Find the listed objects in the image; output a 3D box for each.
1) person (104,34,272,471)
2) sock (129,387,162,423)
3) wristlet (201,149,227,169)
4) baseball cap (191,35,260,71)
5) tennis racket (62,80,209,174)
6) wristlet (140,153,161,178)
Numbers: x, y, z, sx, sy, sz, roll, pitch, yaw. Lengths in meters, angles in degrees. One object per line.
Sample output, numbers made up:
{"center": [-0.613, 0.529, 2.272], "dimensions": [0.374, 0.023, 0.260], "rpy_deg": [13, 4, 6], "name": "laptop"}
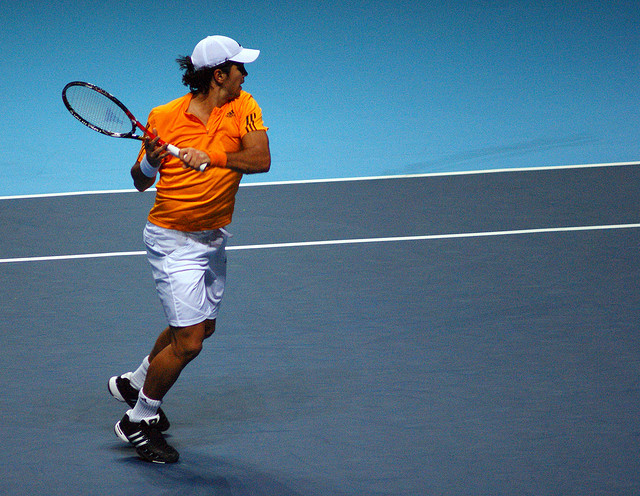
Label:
{"center": [-0.722, 0.012, 4.853], "dimensions": [0.807, 2.339, 0.574], "rpy_deg": [-4, 12, -27], "name": "person"}
{"center": [-0.971, 0.873, 4.837], "dimensions": [0.182, 0.194, 0.065], "rpy_deg": [6, 11, 22], "name": "sock"}
{"center": [-0.551, -0.472, 4.636], "dimensions": [0.115, 0.094, 0.153], "rpy_deg": [2, 9, 4], "name": "wristlet"}
{"center": [-0.486, -1.098, 4.841], "dimensions": [0.420, 0.128, 0.244], "rpy_deg": [-5, 14, 21], "name": "baseball cap"}
{"center": [-1.222, -0.777, 5.221], "dimensions": [0.615, 0.421, 1.359], "rpy_deg": [-1, 9, -15], "name": "tennis racket"}
{"center": [-0.966, -0.451, 4.889], "dimensions": [0.128, 0.105, 0.114], "rpy_deg": [10, -36, -18], "name": "wristlet"}
